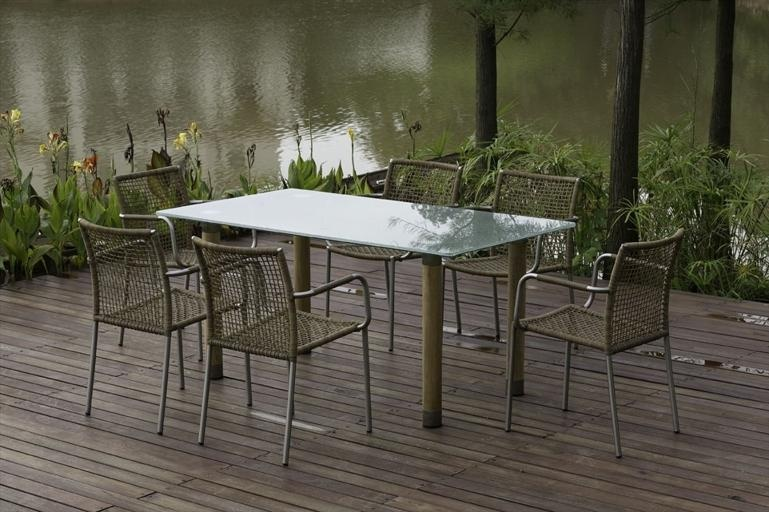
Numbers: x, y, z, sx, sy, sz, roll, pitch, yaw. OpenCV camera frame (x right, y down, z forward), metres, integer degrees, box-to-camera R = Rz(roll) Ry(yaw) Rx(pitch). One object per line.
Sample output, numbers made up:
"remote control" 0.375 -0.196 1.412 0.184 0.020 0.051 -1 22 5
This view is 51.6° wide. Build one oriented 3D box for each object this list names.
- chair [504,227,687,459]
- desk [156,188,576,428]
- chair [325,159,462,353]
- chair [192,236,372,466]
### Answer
"chair" 1.213 0.452 4.579 0.930 1.016 0.812 2 9 39
"desk" 0.197 0.158 5.039 0.982 0.792 1.774 -25 24 -29
"chair" 0.057 -0.059 5.763 1.035 1.117 0.889 -11 19 -24
"chair" -0.602 0.466 4.577 0.891 1.031 0.953 5 6 41
